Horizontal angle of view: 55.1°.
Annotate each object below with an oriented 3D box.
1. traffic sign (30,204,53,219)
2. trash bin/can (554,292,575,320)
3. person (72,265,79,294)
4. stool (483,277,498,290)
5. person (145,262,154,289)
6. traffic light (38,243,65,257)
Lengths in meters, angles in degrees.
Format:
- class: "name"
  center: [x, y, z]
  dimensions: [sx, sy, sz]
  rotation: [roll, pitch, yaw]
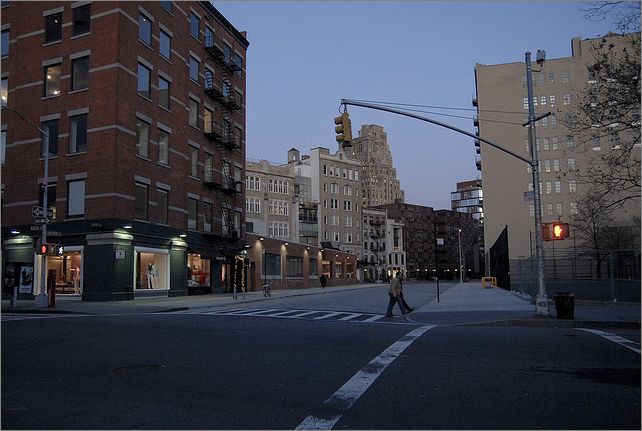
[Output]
- class: "traffic sign"
  center: [-17.526, -0.259, 38.602]
  dimensions: [0.050, 0.746, 0.997]
  rotation: [-11, -13, 26]
- class: "trash bin/can"
  center: [11.100, 4.118, 27.847]
  dimensions: [0.773, 1.218, 0.937]
  rotation: [-4, -10, 14]
- class: "person"
  center: [-17.070, 4.503, 42.831]
  dimensions: [0.686, 1.944, 0.191]
  rotation: [-9, -12, 40]
- class: "stool"
  center: [18.567, 7.486, 67.407]
  dimensions: [1.516, 1.182, 1.513]
  rotation: [4, -10, -41]
- class: "person"
  center: [-12.823, 4.513, 46.003]
  dimensions: [0.246, 1.885, 0.729]
  rotation: [-6, -10, 28]
- class: "traffic light"
  center: [-16.786, 2.148, 38.757]
  dimensions: [1.118, 0.822, 1.144]
  rotation: [-1, -3, 10]
